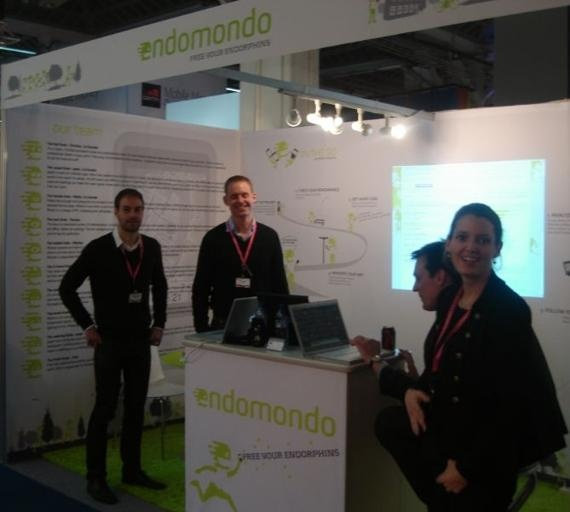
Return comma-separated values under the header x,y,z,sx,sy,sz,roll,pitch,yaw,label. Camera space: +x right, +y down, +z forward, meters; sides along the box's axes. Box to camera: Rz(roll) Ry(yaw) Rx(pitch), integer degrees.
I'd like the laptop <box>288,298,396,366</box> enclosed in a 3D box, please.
x,y,z,sx,sy,sz,roll,pitch,yaw,label
0.216,0.337,2.258,0.323,0.228,0.358,-1,0,38,laptop

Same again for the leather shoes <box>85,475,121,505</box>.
x,y,z,sx,sy,sz,roll,pitch,yaw,label
-1.168,1.499,3.123,0.281,0.132,0.096,3,-1,41,leather shoes

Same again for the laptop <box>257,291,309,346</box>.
x,y,z,sx,sy,sz,roll,pitch,yaw,label
-0.024,0.254,2.528,0.310,0.323,0.218,2,7,42,laptop

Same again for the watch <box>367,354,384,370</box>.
x,y,z,sx,sy,sz,roll,pitch,yaw,label
0.407,0.476,2.190,0.045,0.071,0.073,2,-3,13,watch

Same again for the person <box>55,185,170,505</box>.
x,y,z,sx,sy,sz,roll,pitch,yaw,label
-1.121,0.553,3.207,0.681,2.010,0.341,3,-3,-29,person

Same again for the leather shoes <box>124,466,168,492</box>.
x,y,z,sx,sy,sz,roll,pitch,yaw,label
-0.967,1.521,3.338,0.337,0.157,0.120,-2,-2,19,leather shoes

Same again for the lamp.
x,y,z,sx,sy,sz,roll,pitch,yaw,label
0.406,-1.143,3.948,0.538,0.257,0.788,7,4,43,lamp
